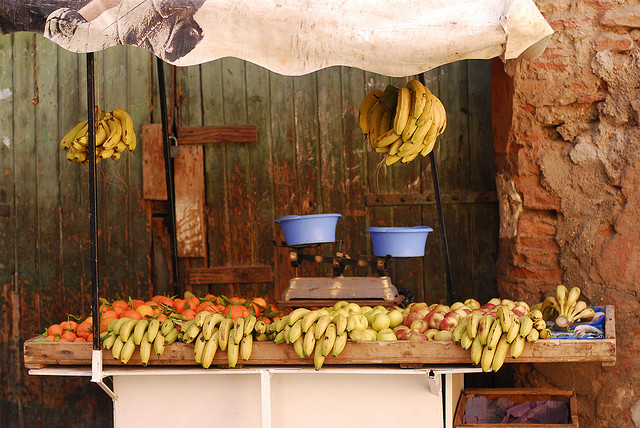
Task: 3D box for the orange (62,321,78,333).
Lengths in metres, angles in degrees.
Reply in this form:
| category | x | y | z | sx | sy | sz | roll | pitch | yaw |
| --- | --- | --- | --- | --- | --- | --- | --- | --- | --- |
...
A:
| category | x | y | z | sx | sy | sz | roll | pitch | yaw |
| --- | --- | --- | --- | --- | --- | --- | --- | --- | --- |
| orange | -1.684 | 0.747 | 6.549 | 0.058 | 0.082 | 0.069 | -2 | 10 | -10 |

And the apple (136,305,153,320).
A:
| category | x | y | z | sx | sy | sz | roll | pitch | yaw |
| --- | --- | --- | --- | --- | --- | --- | --- | --- | --- |
| apple | -1.191 | 0.654 | 6.542 | 0.073 | 0.128 | 0.087 | 0 | -1 | 22 |

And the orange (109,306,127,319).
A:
| category | x | y | z | sx | sy | sz | roll | pitch | yaw |
| --- | --- | --- | --- | --- | --- | --- | --- | --- | --- |
| orange | -1.380 | 0.673 | 6.614 | 0.070 | 0.078 | 0.065 | -5 | -19 | 39 |

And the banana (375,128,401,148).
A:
| category | x | y | z | sx | sy | sz | roll | pitch | yaw |
| --- | --- | --- | --- | --- | --- | --- | --- | --- | --- |
| banana | 0.445 | -0.492 | 6.483 | 0.127 | 0.045 | 0.101 | -44 | -1 | -3 |

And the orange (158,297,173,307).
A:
| category | x | y | z | sx | sy | sz | roll | pitch | yaw |
| --- | --- | --- | --- | --- | --- | --- | --- | --- | --- |
| orange | -1.086 | 0.604 | 6.786 | 0.100 | 0.058 | 0.166 | -2 | -4 | -10 |

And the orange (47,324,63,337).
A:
| category | x | y | z | sx | sy | sz | roll | pitch | yaw |
| --- | --- | --- | --- | --- | --- | --- | --- | --- | --- |
| orange | -1.785 | 0.777 | 6.512 | 0.098 | 0.071 | 0.202 | -1 | -4 | -18 |

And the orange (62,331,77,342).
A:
| category | x | y | z | sx | sy | sz | roll | pitch | yaw |
| --- | --- | --- | --- | --- | --- | --- | --- | --- | --- |
| orange | -1.664 | 0.806 | 6.430 | 0.044 | 0.078 | 0.054 | 0 | -13 | -9 |

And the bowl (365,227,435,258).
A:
| category | x | y | z | sx | sy | sz | roll | pitch | yaw |
| --- | --- | --- | --- | --- | --- | --- | --- | --- | --- |
| bowl | 0.549 | 0.188 | 6.670 | 0.414 | 0.205 | 0.135 | -3 | -3 | 3 |

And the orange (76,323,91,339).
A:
| category | x | y | z | sx | sy | sz | roll | pitch | yaw |
| --- | --- | --- | --- | --- | --- | --- | --- | --- | --- |
| orange | -1.586 | 0.774 | 6.485 | 0.077 | 0.100 | 0.092 | 10 | -18 | -37 |

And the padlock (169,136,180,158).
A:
| category | x | y | z | sx | sy | sz | roll | pitch | yaw |
| --- | --- | --- | --- | --- | --- | --- | --- | --- | --- |
| padlock | -1.158 | -0.535 | 7.685 | 0.077 | 0.173 | 0.131 | -1 | -3 | -10 |

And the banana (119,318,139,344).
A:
| category | x | y | z | sx | sy | sz | roll | pitch | yaw |
| --- | --- | --- | --- | --- | --- | --- | --- | --- | --- |
| banana | -1.248 | 0.742 | 6.297 | 0.090 | 0.063 | 0.200 | 27 | 32 | -2 |

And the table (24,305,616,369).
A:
| category | x | y | z | sx | sy | sz | roll | pitch | yaw |
| --- | --- | --- | --- | --- | --- | --- | --- | --- | --- |
| table | 0.016 | 0.885 | 5.911 | 3.517 | 0.396 | 0.594 | 2 | 2 | 10 |

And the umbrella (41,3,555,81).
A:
| category | x | y | z | sx | sy | sz | roll | pitch | yaw |
| --- | --- | --- | --- | --- | --- | --- | --- | --- | --- |
| umbrella | -0.084 | -1.095 | 5.999 | 3.009 | 0.548 | 0.164 | -3 | -3 | 2 |
